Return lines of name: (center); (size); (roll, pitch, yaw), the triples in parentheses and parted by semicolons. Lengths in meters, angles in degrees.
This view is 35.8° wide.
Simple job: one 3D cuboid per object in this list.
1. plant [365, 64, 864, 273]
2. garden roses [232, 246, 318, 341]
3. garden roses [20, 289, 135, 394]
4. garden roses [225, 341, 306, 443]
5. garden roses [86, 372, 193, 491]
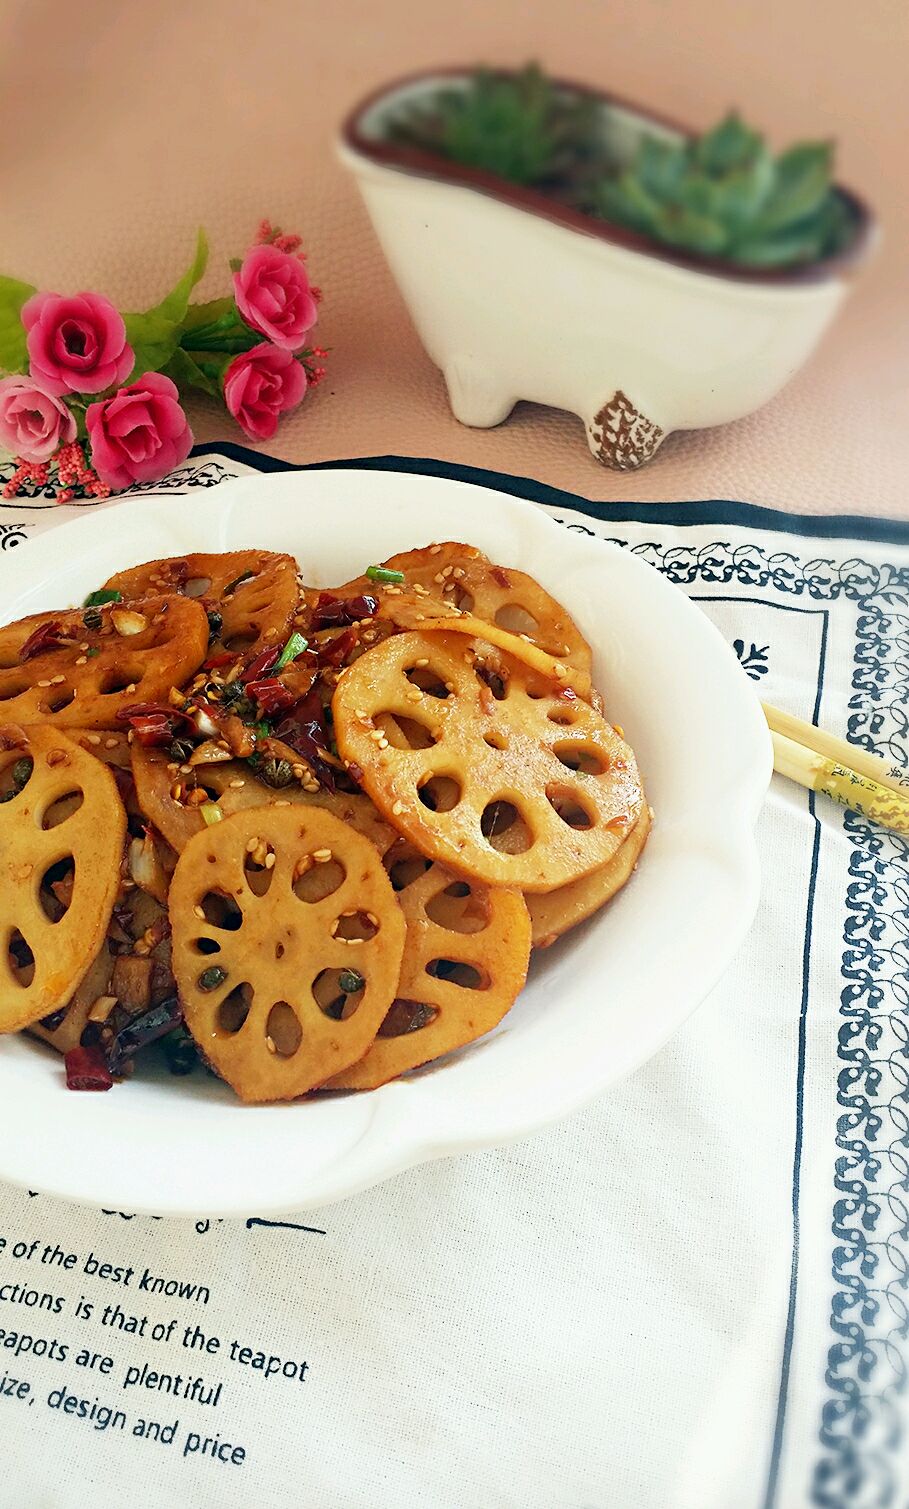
plant: (0.219, -0.868, 2.100); (0.768, 0.284, 0.196); (4, 34, 13)
garden roses: (-0.293, -0.772, 2.414); (0.189, 0.084, 0.187); (-1, -4, -2)
garden roses: (-0.594, -0.645, 2.224); (0.154, 0.146, 0.090); (-4, 33, -1)
garden roses: (-0.335, -0.628, 2.450); (0.154, 0.156, 0.077); (-4, 18, -35)
garden roses: (-0.518, -0.533, 2.310); (0.145, 0.149, 0.069); (0, 67, 4)
